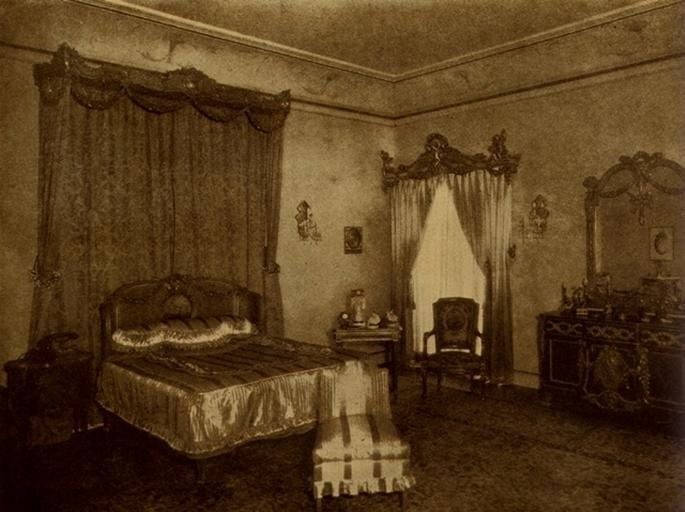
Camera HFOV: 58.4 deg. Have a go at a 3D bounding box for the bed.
[{"bbox_3d":[-1.616,1.251,7.188,2.134,1.618,2.449,0,1,-44],"label":"bed"}]

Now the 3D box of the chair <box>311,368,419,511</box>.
[{"bbox_3d":[0.163,1.877,6.553,0.836,1.143,1.328,-2,-9,-1],"label":"chair"}]

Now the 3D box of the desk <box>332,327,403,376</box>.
[{"bbox_3d":[0.304,1.404,9.313,0.936,0.816,0.584,-1,12,-5],"label":"desk"}]
